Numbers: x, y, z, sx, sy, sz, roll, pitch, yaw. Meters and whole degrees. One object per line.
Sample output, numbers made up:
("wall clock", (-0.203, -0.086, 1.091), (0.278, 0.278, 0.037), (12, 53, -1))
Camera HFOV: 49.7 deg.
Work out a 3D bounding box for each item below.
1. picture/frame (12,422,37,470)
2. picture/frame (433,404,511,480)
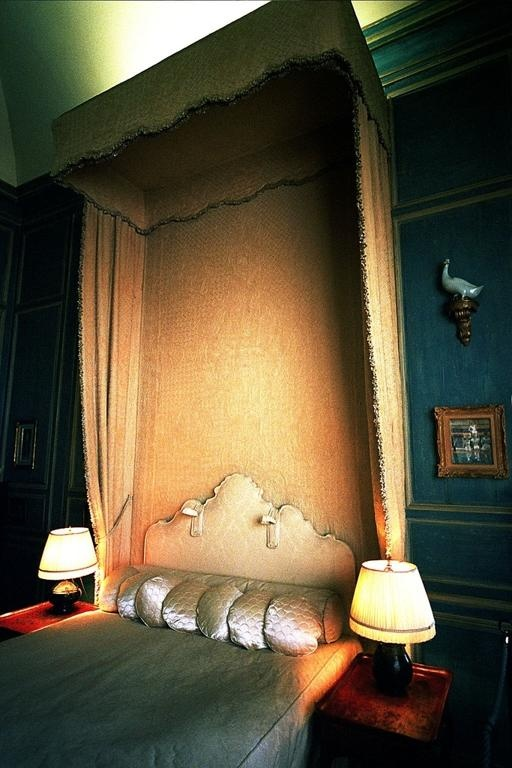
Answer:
("picture/frame", (-1.462, 0.399, 3.529), (0.273, 0.393, 0.041), (-4, -8, 32))
("picture/frame", (0.778, 0.209, 1.970), (0.247, 0.305, 0.031), (-5, -7, 33))
